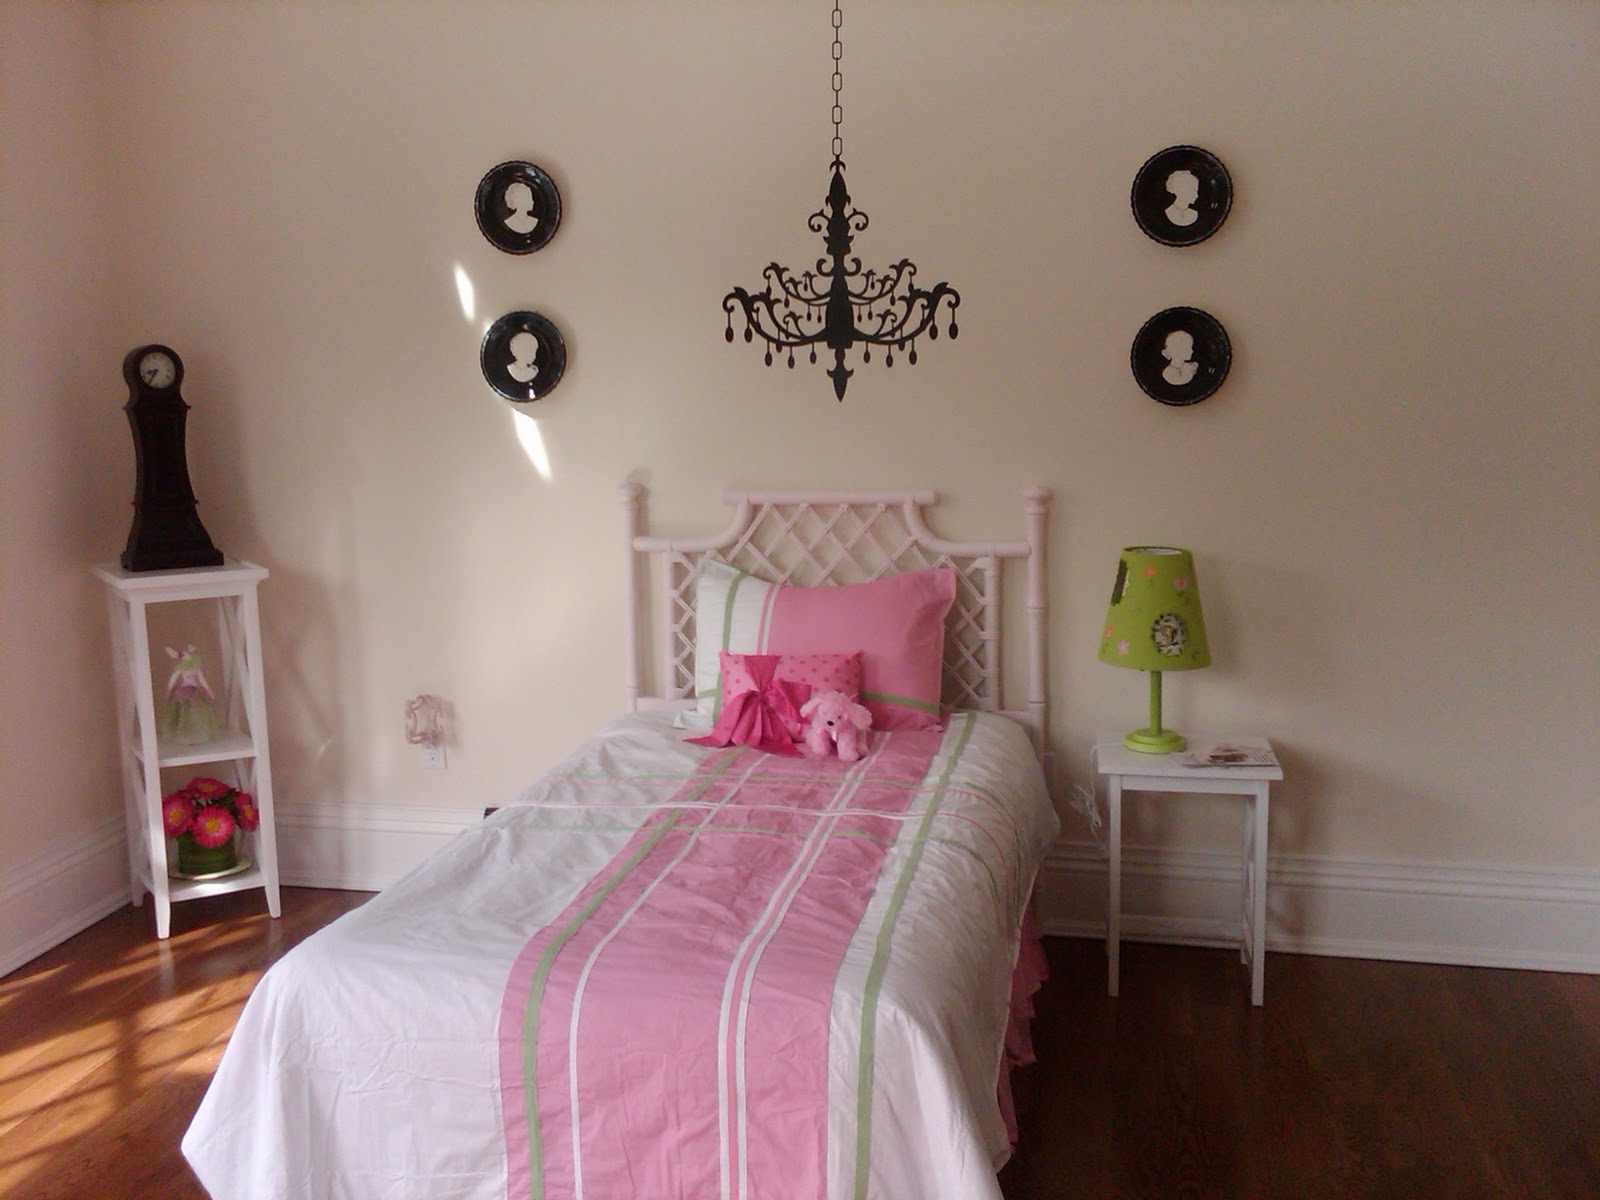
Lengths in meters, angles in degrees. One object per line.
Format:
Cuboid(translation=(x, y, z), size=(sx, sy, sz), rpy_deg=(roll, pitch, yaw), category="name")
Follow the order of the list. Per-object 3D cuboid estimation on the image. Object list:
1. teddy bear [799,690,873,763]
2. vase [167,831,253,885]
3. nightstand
Cuboid(translation=(0.118, 0.388, 3.959), size=(0.225, 0.208, 0.179), rpy_deg=(1, -1, 9), category="teddy bear")
Cuboid(translation=(-2.092, 0.917, 4.656), size=(0.194, 0.094, 0.207), rpy_deg=(0, 3, -9), category="vase")
Cuboid(translation=(1.233, 0.834, 4.134), size=(0.576, 0.790, 0.520), rpy_deg=(-1, 2, 22), category="nightstand")
